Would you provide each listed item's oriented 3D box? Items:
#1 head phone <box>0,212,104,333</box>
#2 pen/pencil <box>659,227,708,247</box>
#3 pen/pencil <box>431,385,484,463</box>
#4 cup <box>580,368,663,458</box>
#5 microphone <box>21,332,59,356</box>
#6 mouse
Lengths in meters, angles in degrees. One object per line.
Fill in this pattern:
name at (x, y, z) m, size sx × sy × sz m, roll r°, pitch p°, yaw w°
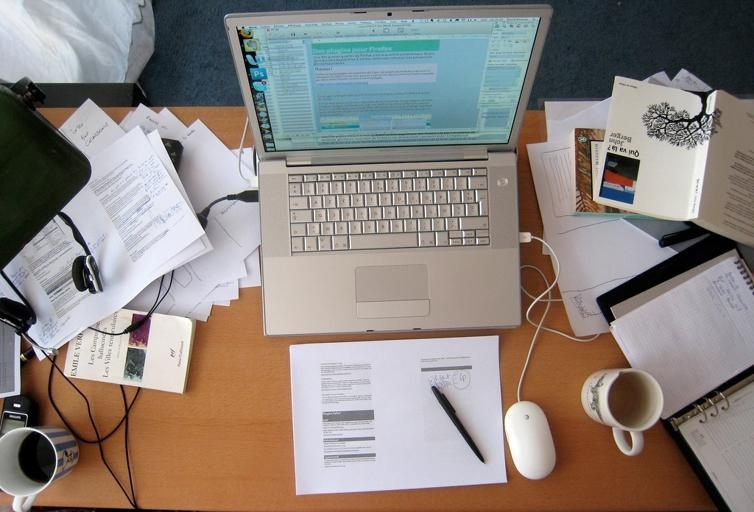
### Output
head phone at (-0.702, 0.043, 1.252) m, size 0.181 × 0.064 × 0.178 m, roll -34°, pitch 104°, yaw 3°
pen/pencil at (0.690, -0.045, 1.298) m, size 0.080 × 0.020 × 0.030 m, roll -18°, pitch 90°, yaw 5°
pen/pencil at (0.173, 0.369, 1.259) m, size 0.018 × 0.020 × 0.173 m, roll -29°, pitch 78°, yaw 1°
cup at (0.525, 0.305, 1.254) m, size 0.122 × 0.144 × 0.221 m, roll -2°, pitch 80°, yaw 11°
microphone at (-0.739, 0.197, 1.272) m, size 0.066 × 0.020 × 0.050 m, roll 37°, pitch 95°, yaw -5°
mouse at (0.323, 0.368, 1.265) m, size 0.088 × 0.041 × 0.153 m, roll -9°, pitch 126°, yaw 4°
